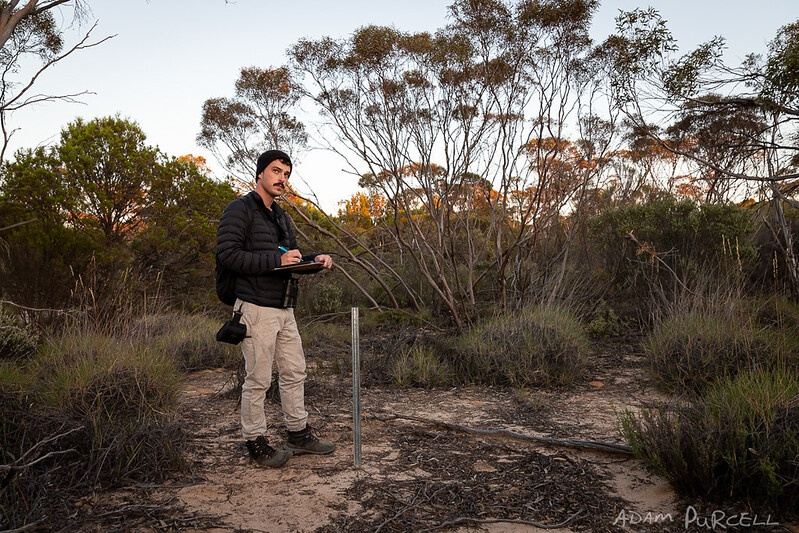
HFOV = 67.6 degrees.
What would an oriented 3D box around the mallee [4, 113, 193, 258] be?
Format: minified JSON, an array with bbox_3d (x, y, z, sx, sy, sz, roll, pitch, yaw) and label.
[{"bbox_3d":[-7.148,-1.591,14.003,2.956,3.250,2.962,-18,-7,25],"label":"mallee"}]

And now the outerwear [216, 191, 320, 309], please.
[{"bbox_3d":[-1.743,-0.131,7.257,1.176,1.481,1.194,-5,-5,17],"label":"outerwear"}]

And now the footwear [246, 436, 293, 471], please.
[{"bbox_3d":[-1.495,2.126,6.818,0.612,0.486,0.253,-2,14,2],"label":"footwear"}]
